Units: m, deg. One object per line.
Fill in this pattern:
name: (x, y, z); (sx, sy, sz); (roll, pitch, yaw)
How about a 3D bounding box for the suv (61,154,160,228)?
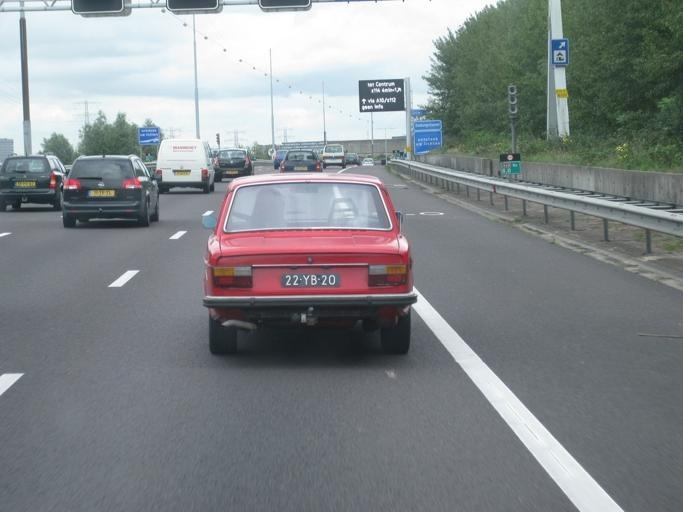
suv: (-7.095, -1.913, 19.966); (2.800, 2.368, 1.666); (-9, 13, -26)
